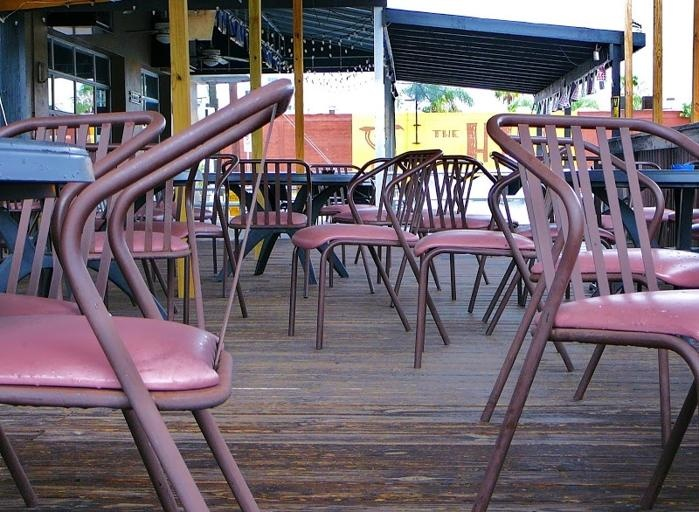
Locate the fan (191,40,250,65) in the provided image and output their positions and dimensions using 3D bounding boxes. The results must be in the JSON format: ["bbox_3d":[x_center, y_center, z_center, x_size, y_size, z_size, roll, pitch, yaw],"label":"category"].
[{"bbox_3d":[-2.288,-3.699,14.259,1.042,0.550,2.352,-3,10,-11],"label":"fan"}]
